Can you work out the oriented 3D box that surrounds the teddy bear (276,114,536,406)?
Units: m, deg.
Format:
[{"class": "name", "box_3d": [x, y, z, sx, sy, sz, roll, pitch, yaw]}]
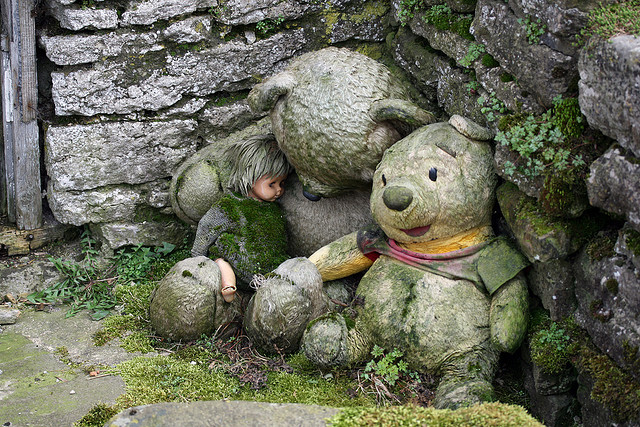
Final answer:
[{"class": "teddy bear", "box_3d": [0.684, 0.307, 4.523, 1.353, 1.957, 1.983, -23, 27, -40]}]
